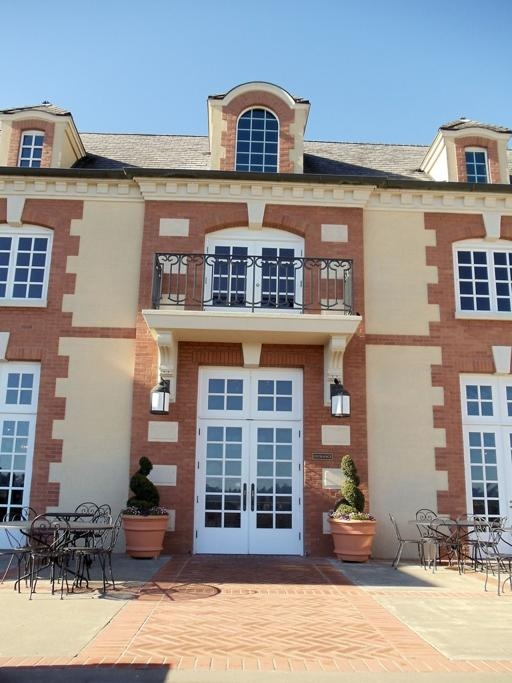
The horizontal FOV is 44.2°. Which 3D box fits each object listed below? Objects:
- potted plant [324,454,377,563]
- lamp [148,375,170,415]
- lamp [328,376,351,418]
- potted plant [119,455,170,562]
[{"bbox_3d":[1.473,2.597,9.782,0.693,1.613,0.566,1,-12,6],"label":"potted plant"},{"bbox_3d":[-1.494,0.858,9.911,0.223,0.526,0.348,-2,-12,16],"label":"lamp"},{"bbox_3d":[1.347,0.898,10.243,0.257,0.652,0.513,2,-12,2],"label":"lamp"},{"bbox_3d":[-1.691,2.549,9.702,0.667,1.503,0.501,1,-12,6],"label":"potted plant"}]
